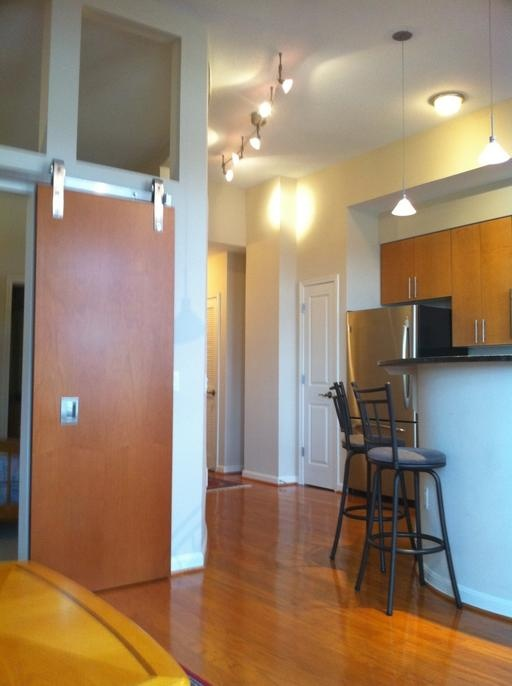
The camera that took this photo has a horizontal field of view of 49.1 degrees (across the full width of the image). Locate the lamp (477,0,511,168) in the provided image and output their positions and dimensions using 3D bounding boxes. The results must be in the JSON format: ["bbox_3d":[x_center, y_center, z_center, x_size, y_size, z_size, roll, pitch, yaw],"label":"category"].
[{"bbox_3d":[1.547,-1.385,3.608,0.200,0.936,1.292,-1,-4,23],"label":"lamp"}]

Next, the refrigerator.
[{"bbox_3d":[1.220,0.518,5.410,0.755,1.829,0.582,5,21,30],"label":"refrigerator"}]

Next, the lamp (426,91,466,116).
[{"bbox_3d":[1.440,-1.765,4.226,0.271,0.130,0.257,-2,-5,22],"label":"lamp"}]

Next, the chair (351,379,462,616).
[{"bbox_3d":[0.763,0.693,2.648,0.326,0.955,0.392,-3,-5,-11],"label":"chair"}]
